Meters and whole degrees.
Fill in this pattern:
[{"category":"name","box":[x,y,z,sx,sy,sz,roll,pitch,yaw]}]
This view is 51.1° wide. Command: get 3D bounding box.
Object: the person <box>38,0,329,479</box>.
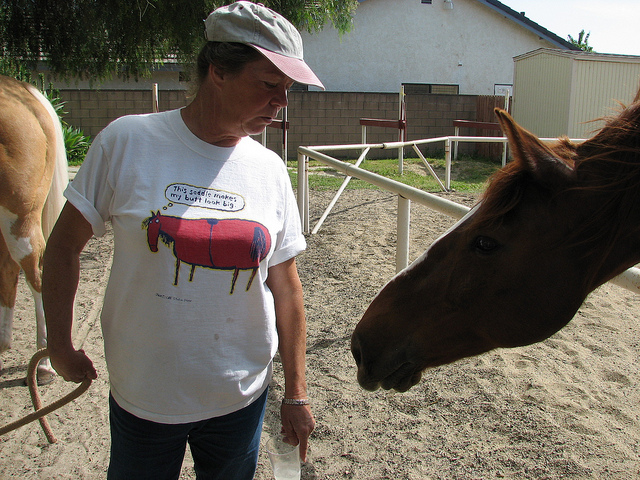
[{"category":"person","box":[-0.616,0.030,3.128,1.236,2.212,0.619,0,17,-16]}]
